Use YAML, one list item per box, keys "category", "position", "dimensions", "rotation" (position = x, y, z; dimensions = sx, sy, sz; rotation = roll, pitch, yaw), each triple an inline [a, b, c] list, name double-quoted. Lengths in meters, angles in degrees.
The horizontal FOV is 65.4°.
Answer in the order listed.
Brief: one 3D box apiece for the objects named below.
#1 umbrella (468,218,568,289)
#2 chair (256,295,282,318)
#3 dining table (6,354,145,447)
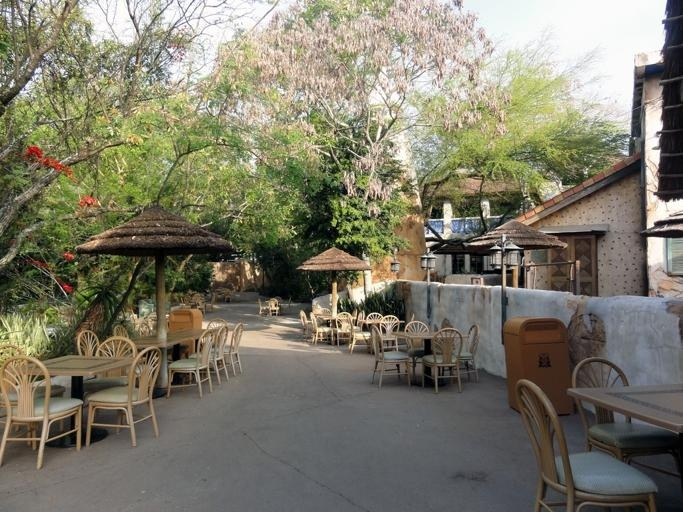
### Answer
- category: "umbrella"
  position: [4.210, -0.422, 12.652]
  dimensions: [1.830, 1.012, 1.917]
  rotation: [0, -3, -3]
- category: "chair"
  position: [-3.457, 2.358, 25.330]
  dimensions: [0.971, 1.562, 1.044]
  rotation: [0, -14, -5]
- category: "dining table"
  position: [-3.578, 2.202, 7.361]
  dimensions: [1.021, 1.023, 1.360]
  rotation: [2, 1, 9]
